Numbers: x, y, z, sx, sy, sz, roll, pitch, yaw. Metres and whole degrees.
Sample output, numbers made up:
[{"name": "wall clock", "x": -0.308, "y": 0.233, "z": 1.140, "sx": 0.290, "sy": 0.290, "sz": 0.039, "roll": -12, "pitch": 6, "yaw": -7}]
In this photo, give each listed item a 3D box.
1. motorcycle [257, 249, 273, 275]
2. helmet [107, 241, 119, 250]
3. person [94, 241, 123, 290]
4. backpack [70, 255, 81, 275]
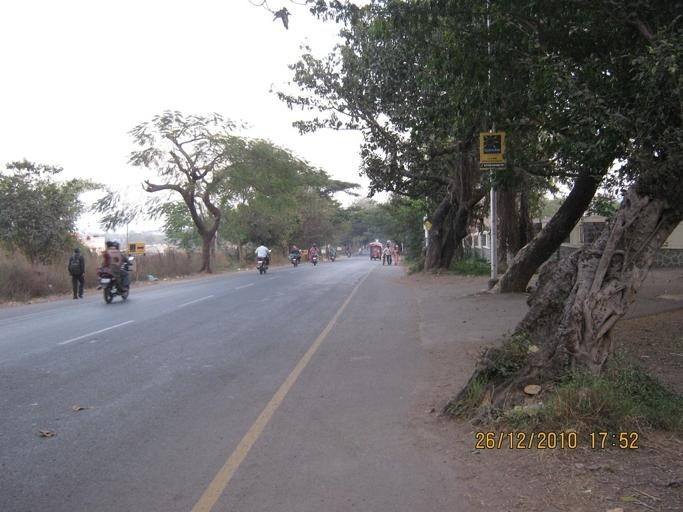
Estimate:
[{"name": "motorcycle", "x": -5.010, "y": 0.081, "z": 37.524, "sx": 0.720, "sy": 1.148, "sz": 1.759, "roll": 1, "pitch": 14, "yaw": 3}, {"name": "helmet", "x": -7.835, "y": -0.391, "z": 19.898, "sx": 0.300, "sy": 0.364, "sz": 0.336, "roll": -4, "pitch": 10, "yaw": -22}, {"name": "person", "x": -7.963, "y": 0.032, "z": 20.125, "sx": 0.631, "sy": 0.981, "sz": 1.570, "roll": 1, "pitch": 10, "yaw": -1}, {"name": "backpack", "x": -9.988, "y": 0.339, "z": 21.802, "sx": 0.452, "sy": 0.683, "sz": 0.318, "roll": -3, "pitch": 5, "yaw": -21}]
